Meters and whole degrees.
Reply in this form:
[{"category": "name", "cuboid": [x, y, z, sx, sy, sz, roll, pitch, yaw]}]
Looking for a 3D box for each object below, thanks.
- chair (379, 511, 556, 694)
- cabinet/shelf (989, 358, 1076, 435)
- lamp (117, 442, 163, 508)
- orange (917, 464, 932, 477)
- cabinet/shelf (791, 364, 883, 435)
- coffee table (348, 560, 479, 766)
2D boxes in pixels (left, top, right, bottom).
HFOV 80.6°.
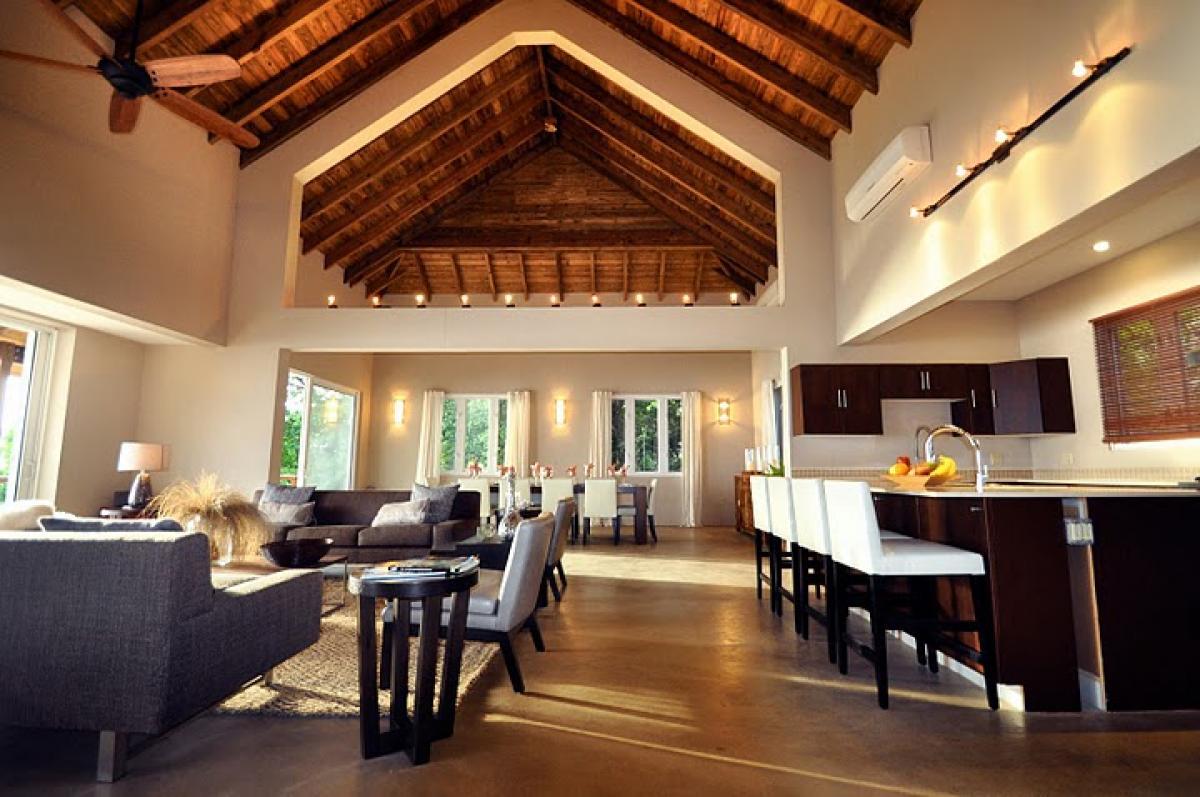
[{"category": "chair", "cuboid": [-0.857, 1.238, 4.825, 1.068, 1.225, 1.244, 1, -11, 5]}, {"category": "cabinet/shelf", "cuboid": [4.469, -0.016, 7.357, 0.235, 0.801, 0.800, -2, 4, -29]}, {"category": "lamp", "cuboid": [-4.959, 0.785, 7.538, 0.795, 0.657, 0.390, 3, 5, 38]}, {"category": "orange", "cuboid": [2.313, 0.510, 5.036, 0.081, 0.053, 0.080, 4, -7, -42]}, {"category": "cabinet/shelf", "cuboid": [2.706, 0.054, 8.295, 1.232, 1.088, 0.705, 0, -8, 1]}, {"category": "coffee table", "cuboid": [-1.026, 1.524, 4.299, 0.907, 1.154, 0.893, 6, -9, -27]}]
